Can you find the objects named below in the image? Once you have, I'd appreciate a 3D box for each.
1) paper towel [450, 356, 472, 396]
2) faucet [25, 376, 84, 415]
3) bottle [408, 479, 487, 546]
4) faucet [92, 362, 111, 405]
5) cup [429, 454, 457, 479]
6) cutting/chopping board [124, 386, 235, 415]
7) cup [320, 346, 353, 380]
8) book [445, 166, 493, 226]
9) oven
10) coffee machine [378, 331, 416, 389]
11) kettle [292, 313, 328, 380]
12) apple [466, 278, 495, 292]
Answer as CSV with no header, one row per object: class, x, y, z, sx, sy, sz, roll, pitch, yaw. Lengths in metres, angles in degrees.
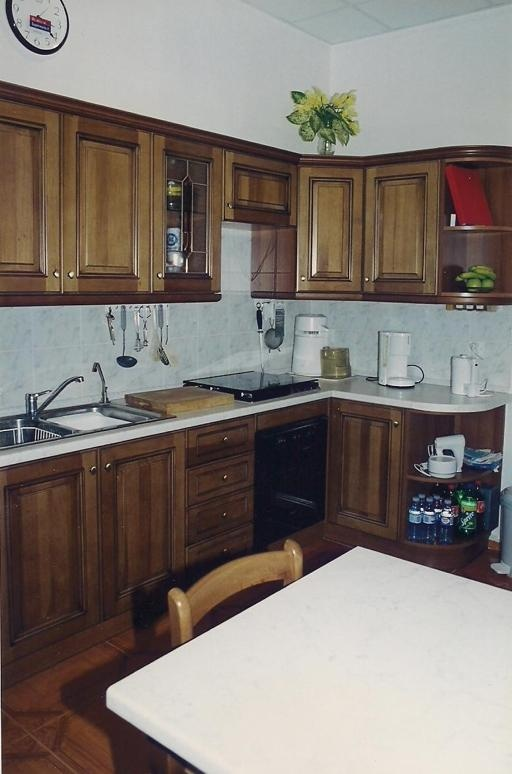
paper towel,1.040,-0.065,3.268,0.053,0.196,0.138,-3,10,-41
faucet,-0.789,0.025,2.578,0.170,0.156,0.313,8,9,33
bottle,0.968,0.651,3.227,0.277,0.301,0.314,5,9,33
faucet,-0.680,-0.027,2.786,0.080,0.175,0.162,1,8,-13
cup,0.911,0.383,3.106,0.112,0.072,0.115,0,5,0
cutting/chopping board,-0.339,0.055,2.836,0.349,0.066,0.407,9,10,38
cup,0.459,-0.154,3.738,0.166,0.194,0.190,-3,11,-18
book,1.020,-0.935,3.187,0.188,0.337,0.275,3,13,9
oven,0.164,0.461,3.132,0.334,0.649,0.343,-5,13,-40
coffee machine,0.757,-0.157,3.460,0.194,0.298,0.190,4,7,9
kettle,0.321,-0.244,3.761,0.164,0.392,0.145,12,11,36
apple,1.112,-0.513,3.163,0.084,0.058,0.090,7,11,40
